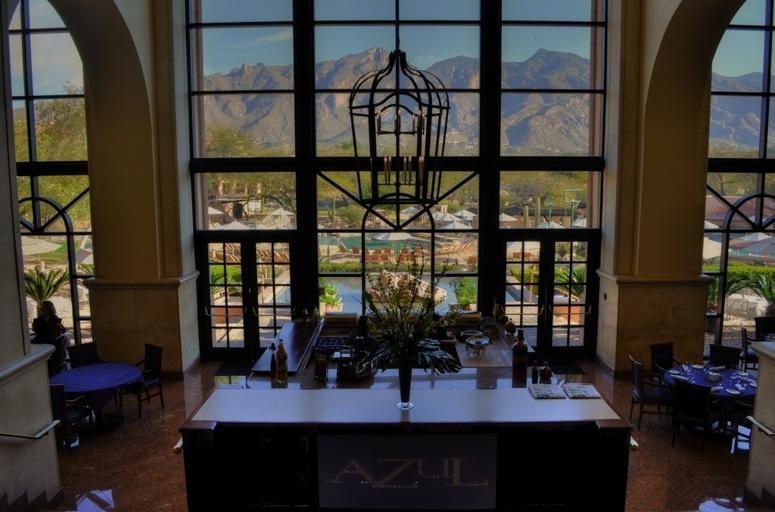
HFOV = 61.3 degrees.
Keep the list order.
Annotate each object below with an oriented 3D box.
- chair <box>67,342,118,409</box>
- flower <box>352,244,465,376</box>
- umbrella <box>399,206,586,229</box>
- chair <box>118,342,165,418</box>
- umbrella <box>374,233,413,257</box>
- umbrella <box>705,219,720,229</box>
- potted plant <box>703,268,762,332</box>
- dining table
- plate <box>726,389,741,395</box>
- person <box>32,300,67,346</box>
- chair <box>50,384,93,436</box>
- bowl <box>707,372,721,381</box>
[{"bbox_3d":[-5.204,1.899,11.230,0.598,0.904,0.645,1,-20,-42],"label":"chair"},{"bbox_3d":[0.299,0.937,8.765,1.141,1.145,1.119,-2,6,-9],"label":"flower"},{"bbox_3d":[2.249,-0.798,13.299,3.573,0.506,0.192,-2,1,-4],"label":"umbrella"},{"bbox_3d":[-4.326,2.104,11.470,0.769,1.022,0.728,-2,7,-23],"label":"chair"},{"bbox_3d":[0.158,-0.297,13.182,0.530,0.436,0.502,-6,11,-31],"label":"umbrella"},{"bbox_3d":[6.483,-0.632,13.132,0.284,0.186,0.095,-2,1,-17],"label":"umbrella"},{"bbox_3d":[7.243,0.832,13.549,1.406,1.076,1.600,-2,5,12],"label":"potted plant"},{"bbox_3d":[-4.782,2.383,10.934,1.019,0.597,1.023,6,18,15],"label":"dining table"},{"bbox_3d":[5.477,2.147,10.380,0.191,0.048,0.167,-1,0,27],"label":"plate"},{"bbox_3d":[-6.170,1.198,11.938,0.517,0.649,0.750,-2,1,-29],"label":"person"},{"bbox_3d":[-4.991,2.433,10.423,0.674,0.856,0.676,-9,-1,-20],"label":"chair"},{"bbox_3d":[5.395,1.972,10.798,0.353,0.139,0.123,-2,1,-41],"label":"bowl"}]
